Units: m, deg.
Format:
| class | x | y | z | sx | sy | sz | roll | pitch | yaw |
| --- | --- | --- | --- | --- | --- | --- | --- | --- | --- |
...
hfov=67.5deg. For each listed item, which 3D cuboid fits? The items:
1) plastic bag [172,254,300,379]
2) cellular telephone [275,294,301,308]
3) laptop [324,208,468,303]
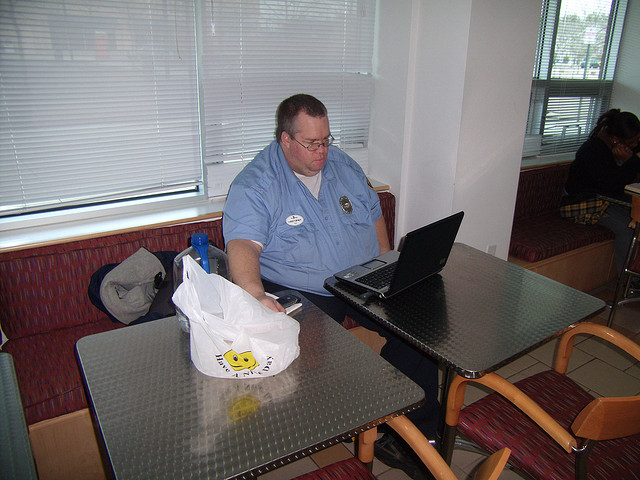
| class | x | y | z | sx | sy | sz | roll | pitch | yaw |
| --- | --- | --- | --- | --- | --- | --- | --- | --- | --- |
| plastic bag | -0.256 | 0.228 | 1.568 | 0.376 | 0.350 | 0.295 | 2 | 29 | -7 |
| cellular telephone | -0.127 | 0.239 | 1.905 | 0.075 | 0.015 | 0.041 | -13 | 26 | -42 |
| laptop | 0.353 | 0.011 | 2.113 | 0.529 | 0.328 | 0.448 | -7 | 26 | -26 |
